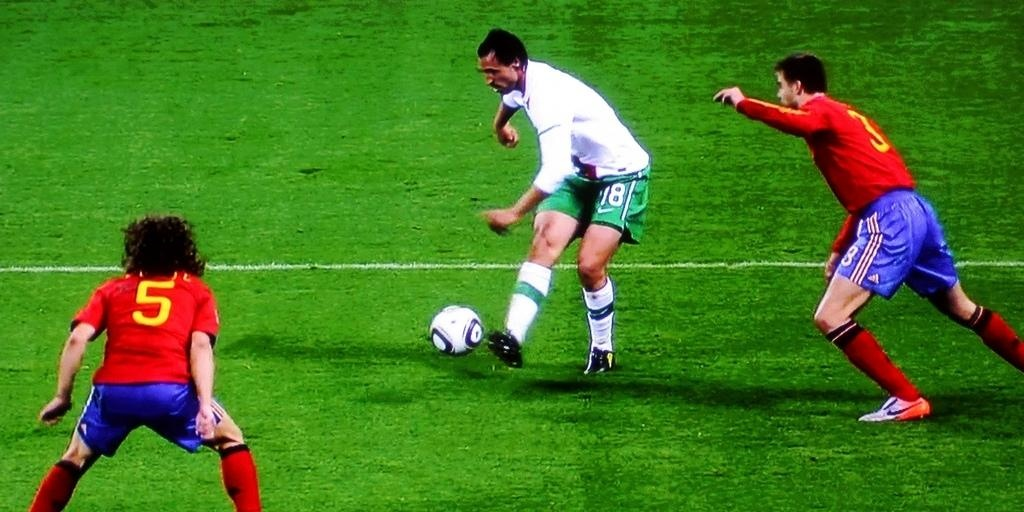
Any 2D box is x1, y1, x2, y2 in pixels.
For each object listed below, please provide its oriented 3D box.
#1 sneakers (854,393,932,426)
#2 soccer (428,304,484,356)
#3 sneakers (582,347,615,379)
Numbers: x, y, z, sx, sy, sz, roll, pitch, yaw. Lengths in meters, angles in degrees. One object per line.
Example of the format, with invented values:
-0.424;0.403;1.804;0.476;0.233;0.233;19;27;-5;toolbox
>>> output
3.430;1.407;13.023;0.680;0.201;0.217;-2;0;1;sneakers
-0.513;0.668;13.392;0.528;0.359;0.498;-1;0;-7;soccer
0.827;0.994;13.639;0.209;0.290;0.143;0;-2;6;sneakers
